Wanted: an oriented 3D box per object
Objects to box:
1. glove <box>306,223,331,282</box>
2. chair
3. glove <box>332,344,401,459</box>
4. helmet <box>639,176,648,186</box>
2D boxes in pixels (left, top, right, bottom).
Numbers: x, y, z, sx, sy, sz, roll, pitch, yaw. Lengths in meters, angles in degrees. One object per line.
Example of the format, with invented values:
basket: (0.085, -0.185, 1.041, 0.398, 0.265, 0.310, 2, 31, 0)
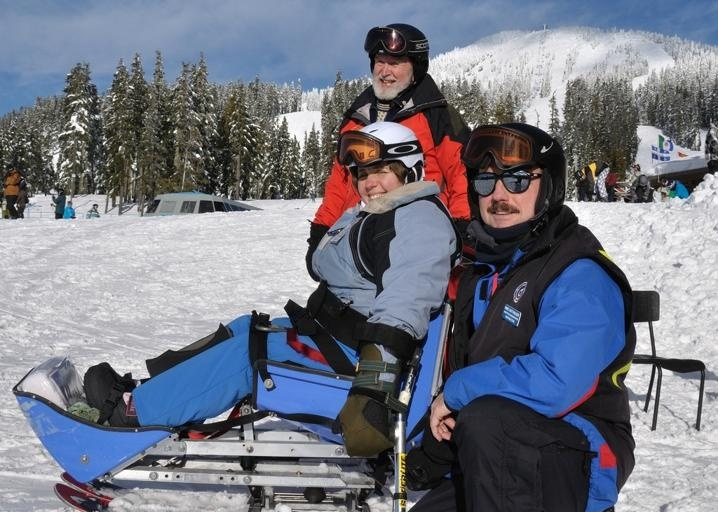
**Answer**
glove: (-0.438, -0.053, 8.429, 0.364, 0.512, 0.182, 1, 3, -31)
chair: (3.822, 1.298, 10.242, 0.794, 1.386, 0.776, 10, -2, 28)
glove: (0.088, 1.216, 7.107, 0.503, 0.921, 0.293, 3, 10, 3)
helmet: (9.704, -2.577, 29.107, 0.255, 0.349, 0.632, 8, 11, 25)
